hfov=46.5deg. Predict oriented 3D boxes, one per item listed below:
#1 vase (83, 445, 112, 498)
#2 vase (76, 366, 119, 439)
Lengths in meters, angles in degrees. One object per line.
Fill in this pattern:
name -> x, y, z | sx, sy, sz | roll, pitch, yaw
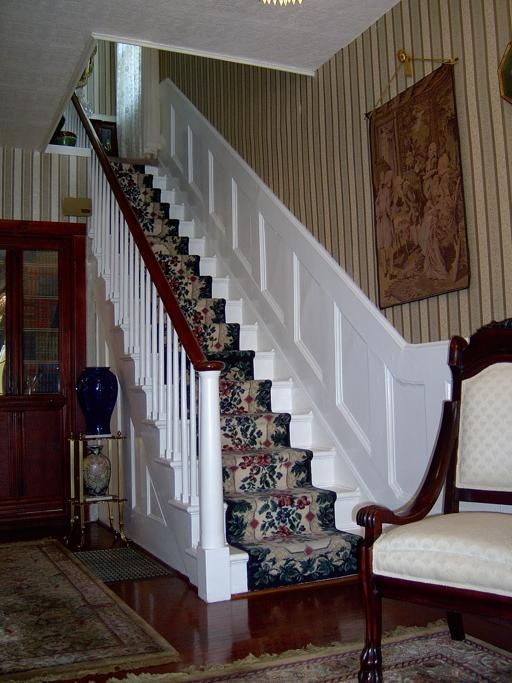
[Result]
vase -> -1.043, 0.847, 3.915 | 0.164, 0.326, 0.180 | -3, -4, 18
vase -> -1.094, 0.389, 4.093 | 0.337, 0.641, 0.363 | -1, 2, -19
